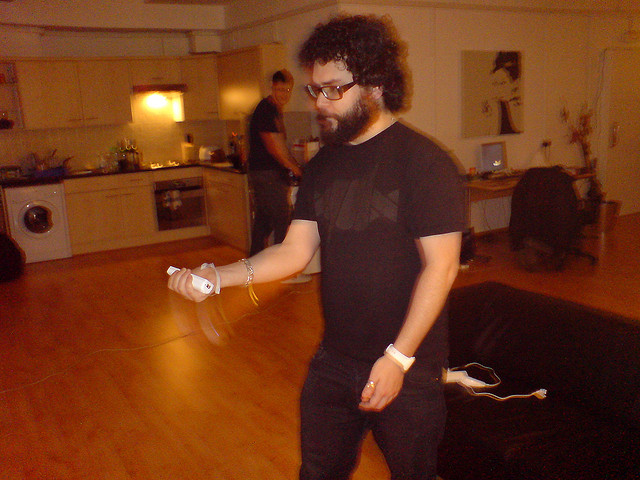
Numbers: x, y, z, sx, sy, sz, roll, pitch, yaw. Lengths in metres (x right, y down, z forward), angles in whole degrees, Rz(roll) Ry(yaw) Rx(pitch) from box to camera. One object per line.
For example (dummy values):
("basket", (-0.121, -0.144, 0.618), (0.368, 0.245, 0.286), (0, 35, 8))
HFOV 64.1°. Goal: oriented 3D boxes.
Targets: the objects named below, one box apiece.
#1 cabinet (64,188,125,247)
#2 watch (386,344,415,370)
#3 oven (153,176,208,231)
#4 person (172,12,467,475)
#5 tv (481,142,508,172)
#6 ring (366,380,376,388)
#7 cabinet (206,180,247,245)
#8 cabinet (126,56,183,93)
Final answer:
("cabinet", (-2.912, -0.337, 6.728), (0.743, 0.672, 0.698), (-6, 14, -23))
("watch", (0.258, 0.375, 1.709), (0.055, 0.094, 0.091), (-42, 12, -6))
("oven", (-1.943, -0.609, 7.333), (0.906, 0.858, 0.649), (-10, 15, -33))
("person", (0.109, 0.038, 1.873), (0.799, 1.667, 0.542), (5, 16, 23))
("tv", (2.191, -1.060, 6.503), (0.417, 0.380, 0.092), (-8, 7, -28))
("ring", (0.169, 0.475, 1.682), (0.020, 0.016, 0.006), (33, -2, 21))
("cabinet", (-1.204, -0.380, 6.683), (0.414, 0.641, 0.693), (-10, 21, -32))
("cabinet", (-2.328, -2.273, 7.008), (0.776, 0.475, 0.438), (-13, 18, -34))
